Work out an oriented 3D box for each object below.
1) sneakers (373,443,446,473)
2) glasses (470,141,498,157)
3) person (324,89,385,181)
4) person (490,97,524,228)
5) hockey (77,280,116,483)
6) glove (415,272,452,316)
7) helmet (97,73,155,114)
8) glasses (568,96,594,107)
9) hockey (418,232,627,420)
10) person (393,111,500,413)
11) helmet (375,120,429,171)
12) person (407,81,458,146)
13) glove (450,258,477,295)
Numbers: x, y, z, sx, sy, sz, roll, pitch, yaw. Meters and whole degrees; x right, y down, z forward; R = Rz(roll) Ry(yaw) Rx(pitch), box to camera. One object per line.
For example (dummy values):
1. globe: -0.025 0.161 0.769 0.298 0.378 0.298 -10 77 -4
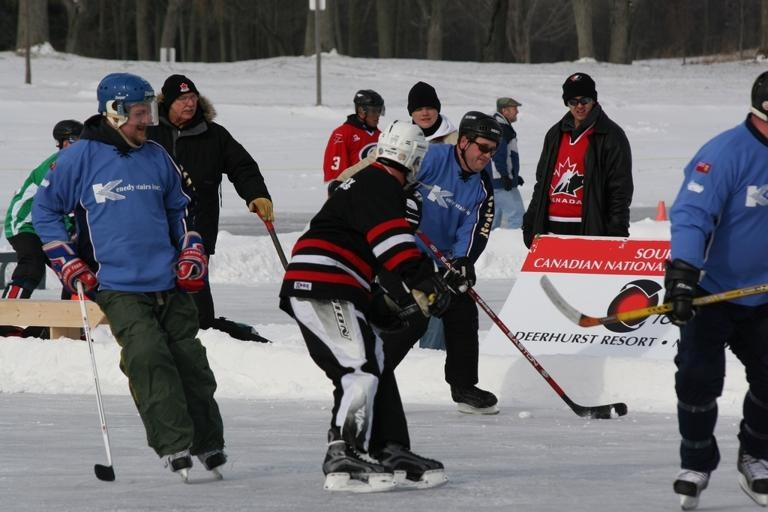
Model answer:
1. sneakers: 0.198 1.743 13.052 0.654 0.230 0.202 1 -4 3
2. glasses: 0.924 -1.013 14.193 0.166 0.051 0.162 16 15 -27
3. person: -0.349 -1.351 17.521 0.770 1.097 1.099 1 -1 -4
4. person: 1.697 -1.114 21.348 0.649 2.112 0.809 -2 8 -10
5. hockey: -2.443 1.045 13.235 0.432 1.947 0.406 1 0 -13
6. glove: 0.423 0.333 12.871 0.344 0.398 0.133 -8 17 -28
7. helmet: -2.253 -1.427 13.265 0.441 0.292 0.341 9 2 9
8. glasses: 1.959 -1.539 15.224 0.132 0.040 0.131 -6 -23 13
9. hockey: 1.391 0.739 14.905 0.383 0.061 2.513 -24 52 -27
10. person: 0.592 0.080 14.536 1.481 2.831 0.896 5 6 -8
11. helmet: 0.205 -0.956 13.224 0.388 0.390 0.462 22 12 18
12. person: 0.474 -1.475 15.826 0.435 0.724 0.592 -4 0 -37
13. glove: 0.717 0.176 13.574 0.127 0.216 0.292 -29 35 31
